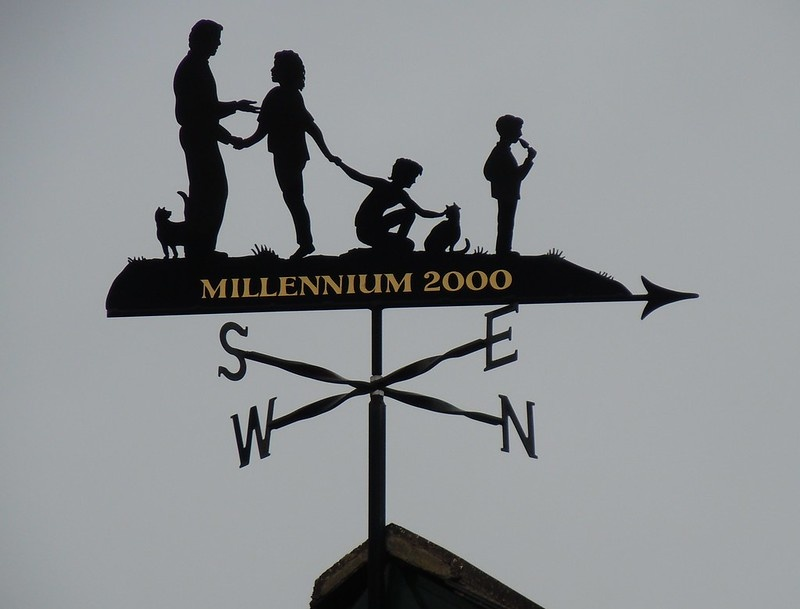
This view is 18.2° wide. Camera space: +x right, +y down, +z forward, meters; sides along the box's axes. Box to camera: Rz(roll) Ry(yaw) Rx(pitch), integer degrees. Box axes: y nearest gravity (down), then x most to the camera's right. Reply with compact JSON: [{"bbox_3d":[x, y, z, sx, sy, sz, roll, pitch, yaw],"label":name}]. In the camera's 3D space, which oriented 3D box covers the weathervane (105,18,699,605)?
[{"bbox_3d":[-0.182,0.077,11.898,2.716,2.919,0.398,-1,-22,-1],"label":"weathervane"}]
